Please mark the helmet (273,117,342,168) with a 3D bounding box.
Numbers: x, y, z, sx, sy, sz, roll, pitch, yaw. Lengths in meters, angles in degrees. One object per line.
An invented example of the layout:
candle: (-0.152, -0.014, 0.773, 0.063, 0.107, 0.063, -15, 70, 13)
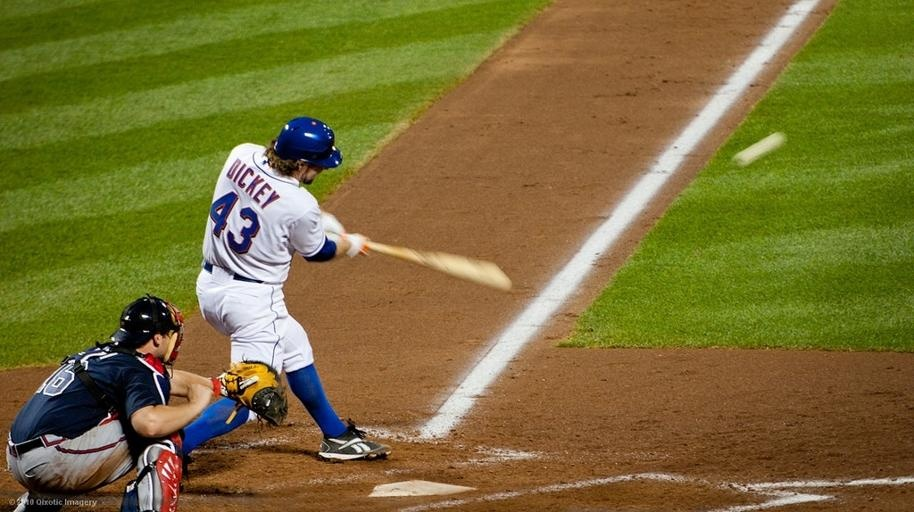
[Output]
helmet: (-1.559, -1.195, 13.559, 0.753, 0.298, 0.464, 3, 33, -12)
